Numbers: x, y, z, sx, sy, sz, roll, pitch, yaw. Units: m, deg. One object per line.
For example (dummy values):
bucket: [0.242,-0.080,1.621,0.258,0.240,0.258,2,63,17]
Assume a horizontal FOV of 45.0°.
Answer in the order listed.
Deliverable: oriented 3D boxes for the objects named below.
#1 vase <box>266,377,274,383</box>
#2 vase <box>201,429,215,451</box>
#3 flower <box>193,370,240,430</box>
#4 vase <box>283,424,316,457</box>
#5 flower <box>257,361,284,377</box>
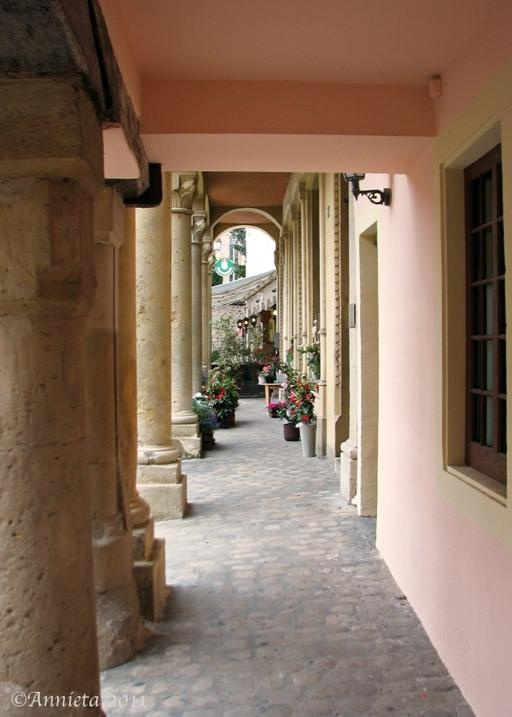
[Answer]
vase: [0.404,0.591,17.152,0.177,0.168,0.177,1,-2,-4]
vase: [-0.735,1.263,9.745,0.127,0.320,0.321,-1,-1,31]
flower: [-0.750,0.776,12.219,0.961,1.359,1.202,1,2,-7]
vase: [0.567,1.169,8.998,0.524,0.544,0.369,-3,-1,-7]
flower: [0.432,0.322,17.559,0.452,0.454,0.447,-1,0,-30]
